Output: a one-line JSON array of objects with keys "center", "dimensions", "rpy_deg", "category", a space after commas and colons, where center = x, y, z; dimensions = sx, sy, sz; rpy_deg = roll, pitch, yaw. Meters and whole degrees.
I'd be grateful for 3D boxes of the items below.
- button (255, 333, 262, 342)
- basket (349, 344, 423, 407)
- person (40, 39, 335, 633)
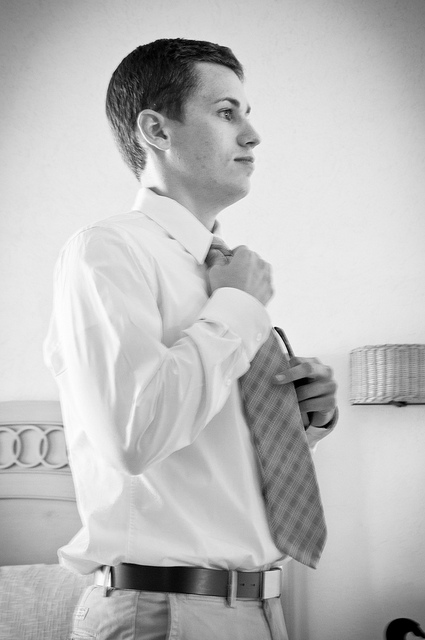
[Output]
[{"center": [0.055, 0.020, 0.805], "dimensions": [0.002, 0.008, 0.008], "rpy_deg": [12, 51, 16], "category": "button"}, {"center": [0.549, 0.170, 2.102], "dimensions": [0.233, 0.121, 0.208], "rpy_deg": [1, -12, 1], "category": "basket"}, {"center": [-0.040, -0.026, 0.927], "dimensions": [0.414, 0.814, 0.463], "rpy_deg": [1, 8, 10], "category": "person"}]
